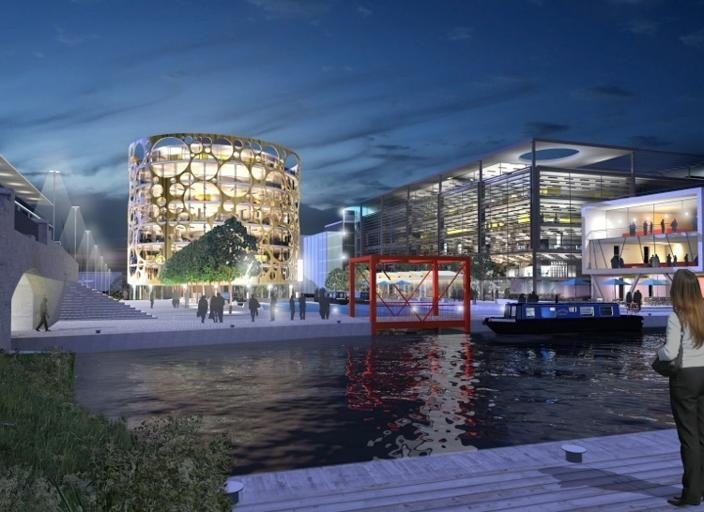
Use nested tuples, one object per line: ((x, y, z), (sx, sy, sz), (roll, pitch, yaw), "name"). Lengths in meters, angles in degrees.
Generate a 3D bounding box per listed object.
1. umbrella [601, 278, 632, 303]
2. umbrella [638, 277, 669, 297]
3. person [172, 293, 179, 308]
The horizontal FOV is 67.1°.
((28.304, 3.749, 57.413), (3.772, 2.280, 3.663), (-3, 4, -41), "umbrella")
((30.814, 3.203, 53.870), (2.533, 2.102, 2.314), (-1, 2, -24), "umbrella")
((-19.349, 4.831, 57.951), (0.455, 1.506, 1.394), (-1, -1, -19), "person")
